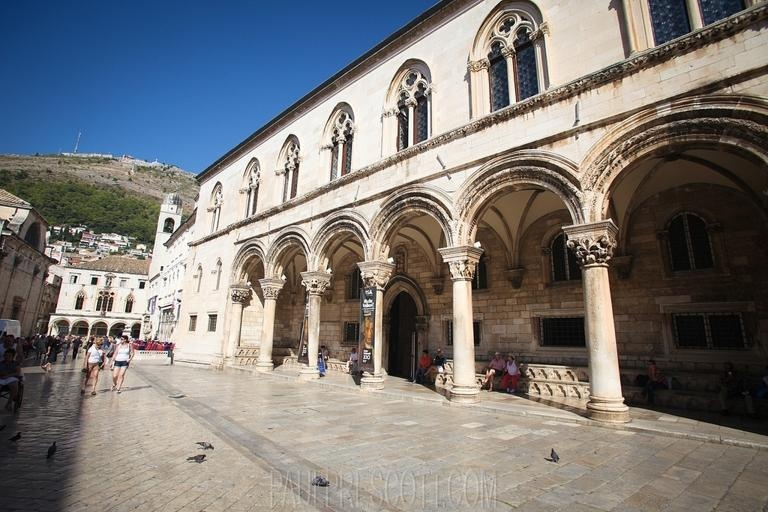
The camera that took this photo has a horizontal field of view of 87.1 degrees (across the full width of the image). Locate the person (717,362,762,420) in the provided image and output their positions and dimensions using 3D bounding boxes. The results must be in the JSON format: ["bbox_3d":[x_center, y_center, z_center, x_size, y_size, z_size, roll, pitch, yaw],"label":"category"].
[{"bbox_3d":[9.594,3.598,10.781,1.003,1.237,0.650,-10,-19,36],"label":"person"}]

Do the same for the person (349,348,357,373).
[{"bbox_3d":[-1.380,4.879,18.859,0.328,1.162,0.979,4,-15,-10],"label":"person"}]

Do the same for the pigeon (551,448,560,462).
[{"bbox_3d":[3.364,3.879,7.895,0.166,0.237,0.624,-5,-16,22],"label":"pigeon"}]

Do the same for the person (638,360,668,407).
[{"bbox_3d":[8.069,3.792,12.182,0.571,1.270,0.639,7,-16,-19],"label":"person"}]
